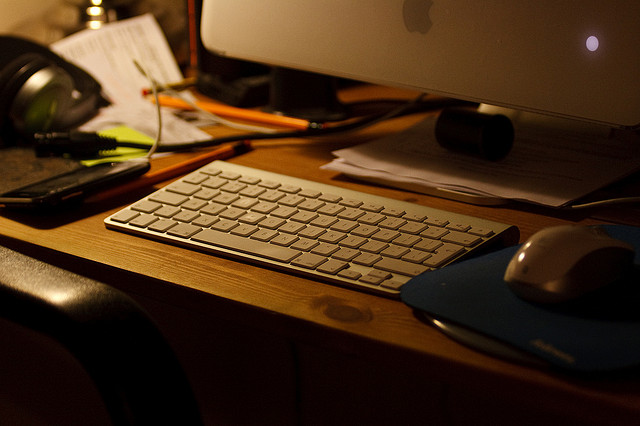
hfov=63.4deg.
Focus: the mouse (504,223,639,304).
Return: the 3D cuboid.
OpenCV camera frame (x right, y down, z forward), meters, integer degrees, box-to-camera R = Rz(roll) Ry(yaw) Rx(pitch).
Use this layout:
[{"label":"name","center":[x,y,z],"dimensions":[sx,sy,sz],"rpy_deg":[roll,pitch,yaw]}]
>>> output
[{"label":"mouse","center":[0.234,0.026,0.469],"dimensions":[0.123,0.041,0.063],"rpy_deg":[-20,29,-33]}]
